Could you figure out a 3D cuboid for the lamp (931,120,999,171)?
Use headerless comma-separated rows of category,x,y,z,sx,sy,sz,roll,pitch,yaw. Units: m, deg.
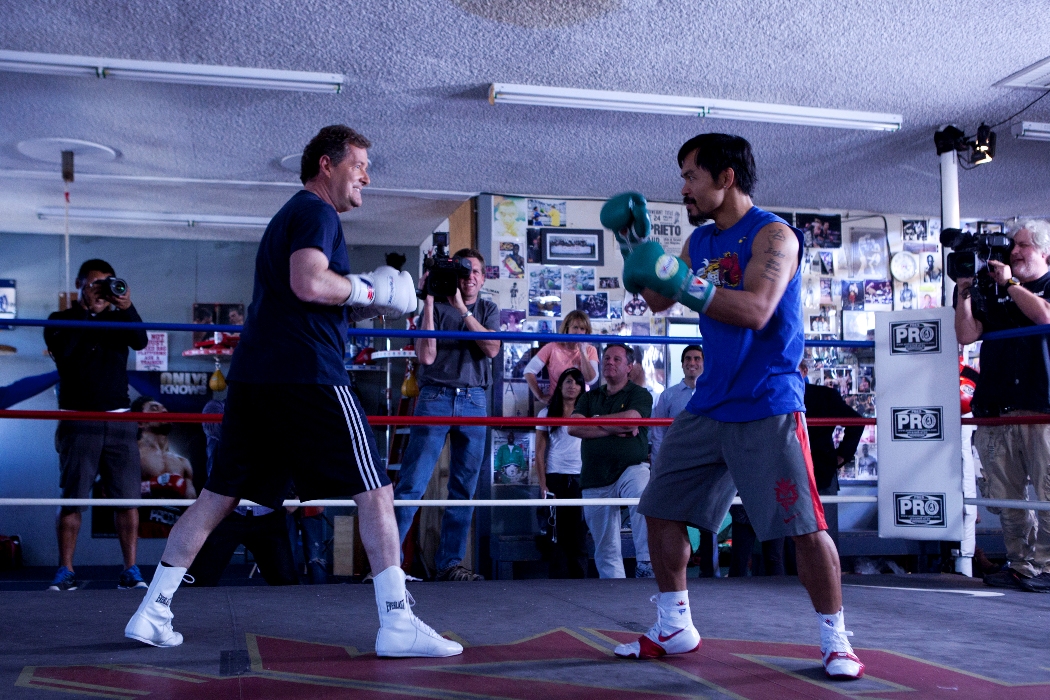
lamp,2.945,-1.387,5.986,0.374,0.299,0.312,1,-1,14

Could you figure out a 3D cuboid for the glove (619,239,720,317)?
glove,0.475,-0.269,3.000,0.438,0.136,0.215,-6,-38,-5

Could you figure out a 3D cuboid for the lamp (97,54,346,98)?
lamp,-1.790,-1.613,5.268,1.387,0.090,0.200,1,-1,-8

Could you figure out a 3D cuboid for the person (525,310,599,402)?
person,0.306,0.063,6.679,0.577,0.697,0.412,3,1,35

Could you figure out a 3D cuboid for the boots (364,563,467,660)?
boots,-0.386,0.928,3.147,0.379,0.299,0.125,14,-26,-37

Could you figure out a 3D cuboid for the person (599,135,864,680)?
person,0.723,0.150,3.124,0.916,1.837,0.416,1,-1,2

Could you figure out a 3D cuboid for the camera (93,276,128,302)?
camera,-2.155,-0.320,4.681,0.166,0.148,0.162,-10,-10,41

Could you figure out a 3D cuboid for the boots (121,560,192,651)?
boots,-1.308,0.935,3.230,0.150,0.278,0.306,7,-29,7

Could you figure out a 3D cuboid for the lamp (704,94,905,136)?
lamp,1.807,-1.522,5.852,1.400,0.099,0.310,1,-1,-9

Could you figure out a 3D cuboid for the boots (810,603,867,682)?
boots,1.072,0.992,3.045,0.123,0.131,0.352,-1,3,9

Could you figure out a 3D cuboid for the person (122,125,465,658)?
person,-0.784,0.239,3.155,1.108,1.603,0.290,1,-1,-4

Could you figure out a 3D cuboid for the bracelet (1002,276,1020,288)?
bracelet,2.426,-0.339,4.451,0.072,0.043,0.066,-16,-22,2

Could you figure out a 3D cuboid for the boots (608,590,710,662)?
boots,0.479,0.972,3.173,0.323,0.207,0.111,-16,-28,23

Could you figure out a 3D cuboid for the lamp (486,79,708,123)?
lamp,0.458,-1.557,5.615,1.405,0.115,0.285,1,-1,-11

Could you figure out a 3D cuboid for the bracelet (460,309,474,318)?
bracelet,-0.319,-0.206,4.986,0.050,0.029,0.046,0,-9,-16
